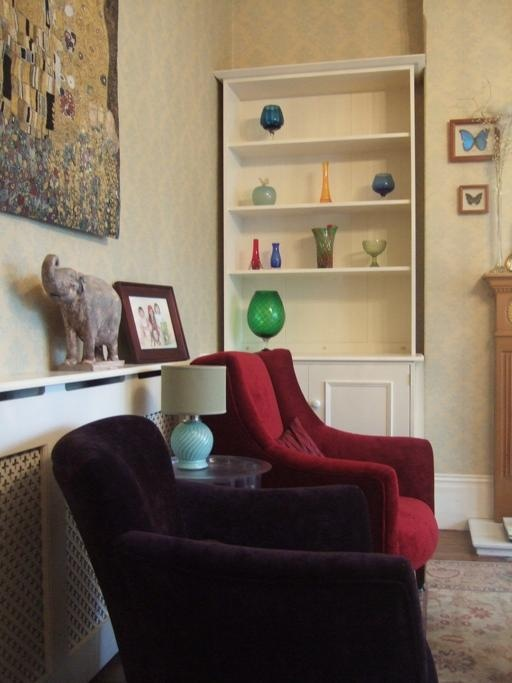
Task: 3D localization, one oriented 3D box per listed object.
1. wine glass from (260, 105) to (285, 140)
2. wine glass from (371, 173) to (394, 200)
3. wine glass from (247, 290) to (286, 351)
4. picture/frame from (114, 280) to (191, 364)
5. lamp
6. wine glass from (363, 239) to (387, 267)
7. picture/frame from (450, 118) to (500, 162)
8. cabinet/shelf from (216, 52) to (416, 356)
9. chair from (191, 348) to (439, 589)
[{"bbox_3d":[0.085,-1.159,3.525,0.125,0.197,0.133,4,14,24],"label":"wine glass"},{"bbox_3d":[0.640,-0.795,3.413,0.094,0.193,0.111,-3,6,-14],"label":"wine glass"},{"bbox_3d":[0.038,-0.106,3.391,0.187,0.442,0.198,4,6,44],"label":"wine glass"},{"bbox_3d":[-0.357,-0.062,2.359,0.020,0.278,0.338,-19,14,-39],"label":"picture/frame"},{"bbox_3d":[-0.185,0.205,1.973,0.205,0.419,0.227,0,0,-21],"label":"lamp"},{"bbox_3d":[0.603,-0.466,3.443,0.118,0.185,0.137,0,-3,-3],"label":"wine glass"},{"bbox_3d":[1.092,-0.990,3.270,0.164,0.200,0.028,1,4,13],"label":"picture/frame"},{"bbox_3d":[0.353,-0.732,3.547,1.159,2.472,0.415,0,-2,9],"label":"cabinet/shelf"},{"bbox_3d":[0.254,0.286,2.344,0.718,1.087,0.691,-2,-4,19],"label":"chair"}]
